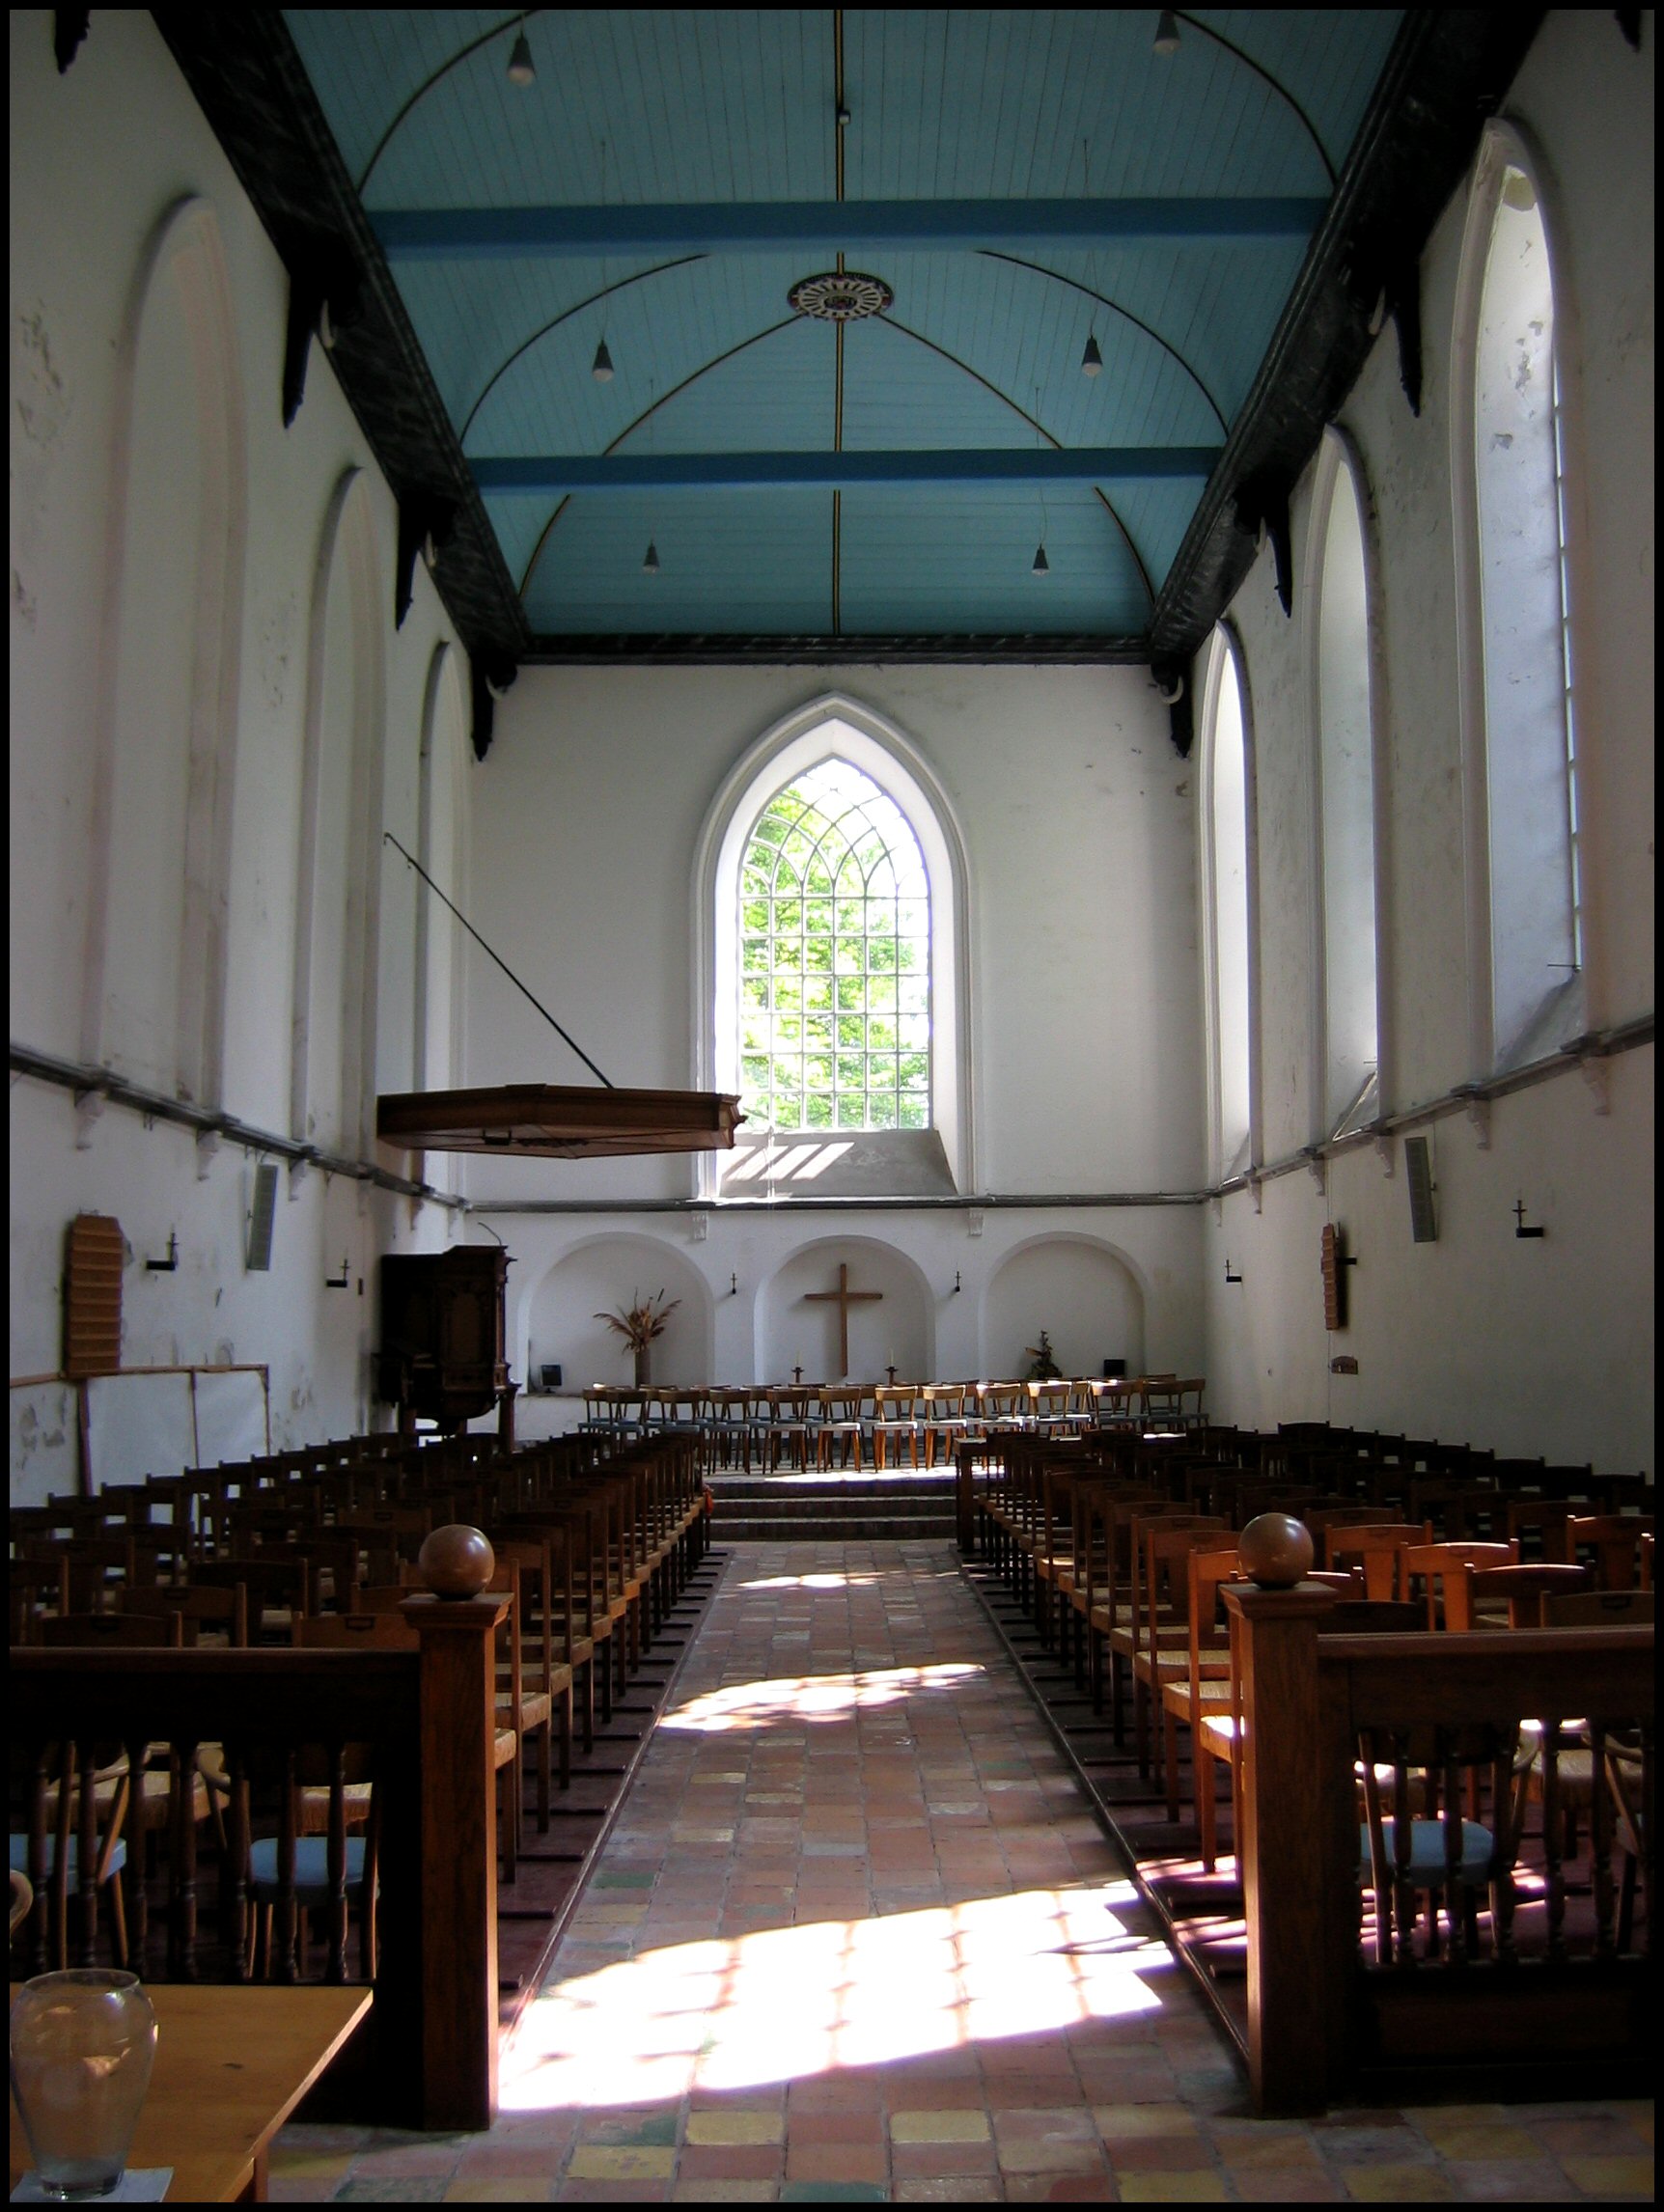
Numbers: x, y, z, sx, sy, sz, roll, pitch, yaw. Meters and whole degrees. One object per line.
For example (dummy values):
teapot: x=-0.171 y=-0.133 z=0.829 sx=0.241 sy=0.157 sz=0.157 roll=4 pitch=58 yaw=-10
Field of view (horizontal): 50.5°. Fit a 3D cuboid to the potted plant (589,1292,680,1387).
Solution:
potted plant: x=-2.481 y=2.918 z=22.180 sx=0.819 sy=1.333 sz=0.922 roll=2 pitch=-5 yaw=-33
